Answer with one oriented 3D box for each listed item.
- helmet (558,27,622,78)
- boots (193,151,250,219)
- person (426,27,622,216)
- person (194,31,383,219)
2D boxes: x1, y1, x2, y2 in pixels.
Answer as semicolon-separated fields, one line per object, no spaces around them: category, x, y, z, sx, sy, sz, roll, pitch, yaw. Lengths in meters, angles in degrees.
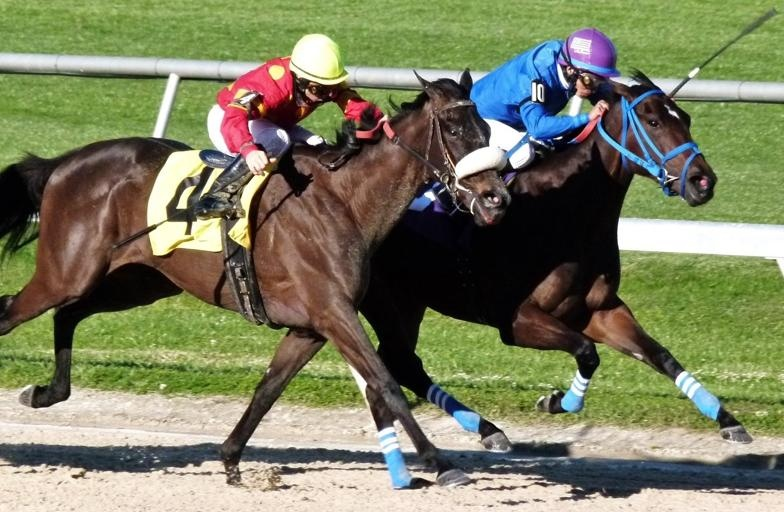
helmet;1.163;-1.237;6.727;0.495;0.212;0.310;18;22;3
boots;-0.899;-0.361;6.064;0.195;0.338;0.276;21;27;25
person;0.989;-0.838;7.169;0.778;1.119;1.734;-10;19;-26
person;-0.557;-0.696;6.308;1.201;0.971;0.802;20;27;17
